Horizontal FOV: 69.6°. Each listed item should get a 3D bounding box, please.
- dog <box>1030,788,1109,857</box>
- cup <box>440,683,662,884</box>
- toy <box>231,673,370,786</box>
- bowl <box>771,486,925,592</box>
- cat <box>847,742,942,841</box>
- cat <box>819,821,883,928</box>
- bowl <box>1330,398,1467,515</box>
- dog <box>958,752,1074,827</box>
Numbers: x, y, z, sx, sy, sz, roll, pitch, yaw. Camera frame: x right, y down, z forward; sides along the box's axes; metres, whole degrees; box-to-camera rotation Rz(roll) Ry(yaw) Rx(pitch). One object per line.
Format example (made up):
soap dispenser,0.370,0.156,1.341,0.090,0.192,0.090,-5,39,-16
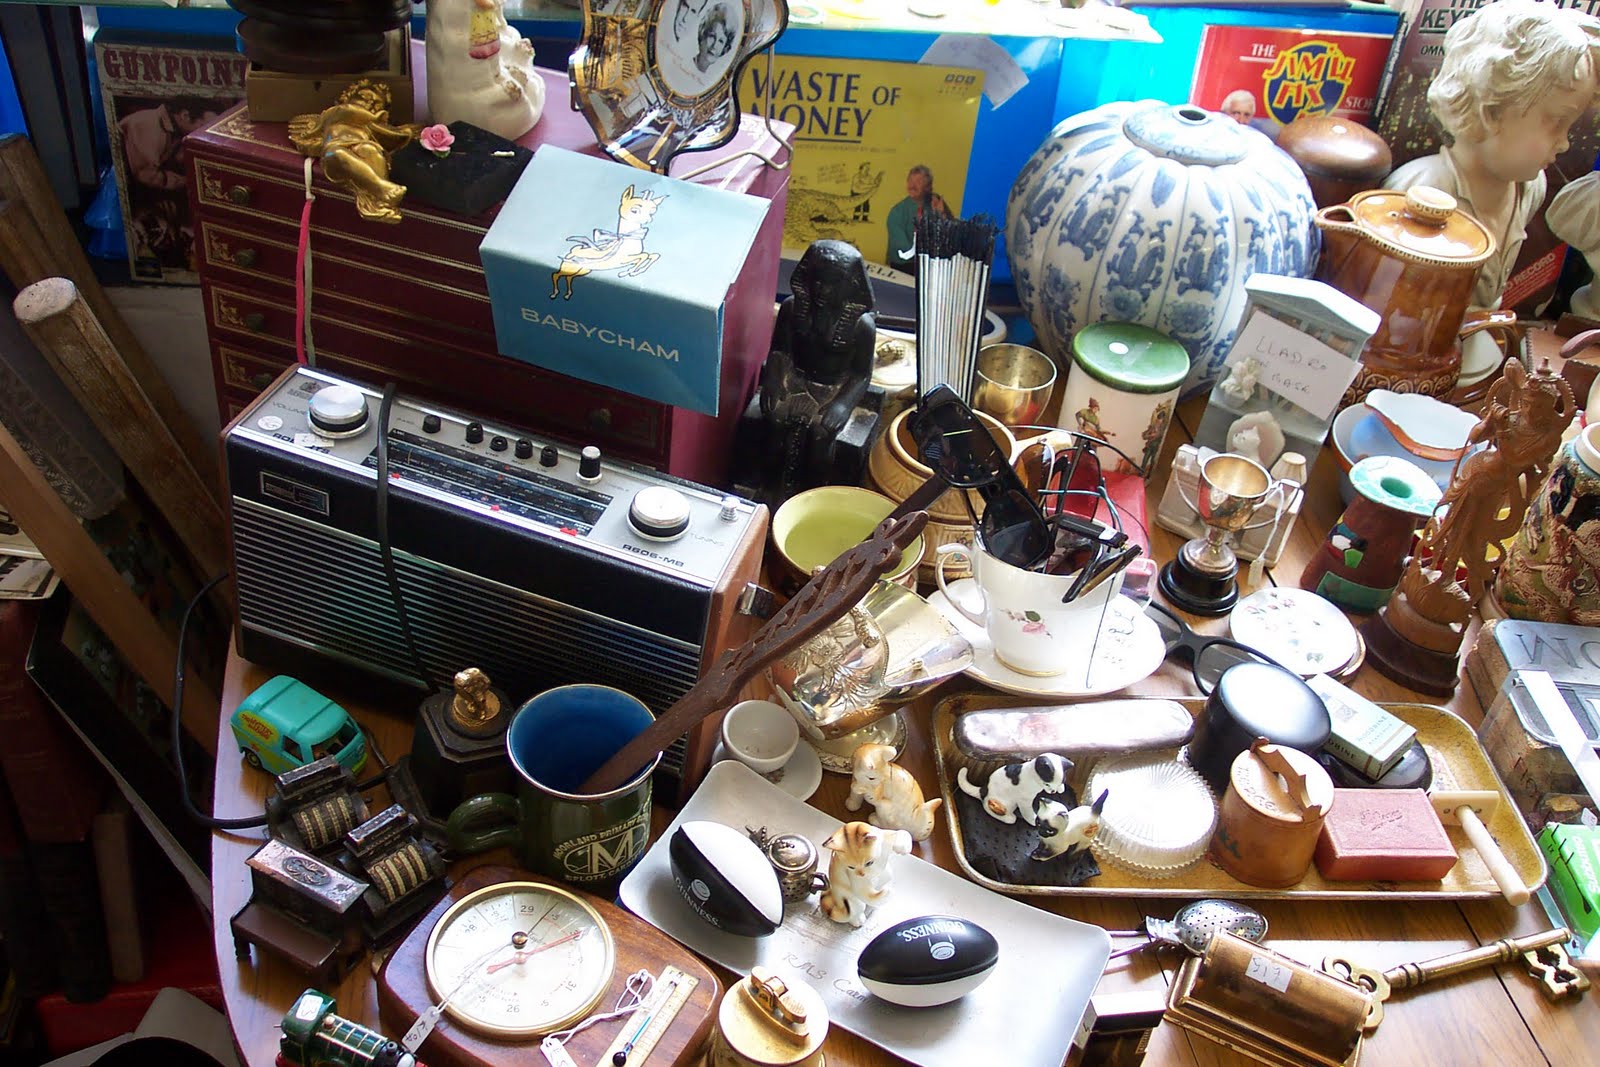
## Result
dog,0.320,0.346,1.371,0.109,0.075,0.041,5,24,-36
cup,-0.274,0.285,1.322,0.221,0.187,0.155,13,39,3
toy,-0.609,0.254,1.445,0.154,0.088,0.110,27,51,15
bowl,0.034,-0.023,1.630,0.184,0.125,0.229,-16,36,-18
cat,0.111,0.310,1.418,0.094,0.111,0.119,7,38,13
cat,0.059,0.392,1.310,0.074,0.109,0.070,-20,34,-30
bowl,0.963,-0.148,1.863,0.166,0.048,0.176,-4,37,3
dog,0.258,0.301,1.367,0.103,0.073,0.073,11,17,-2
